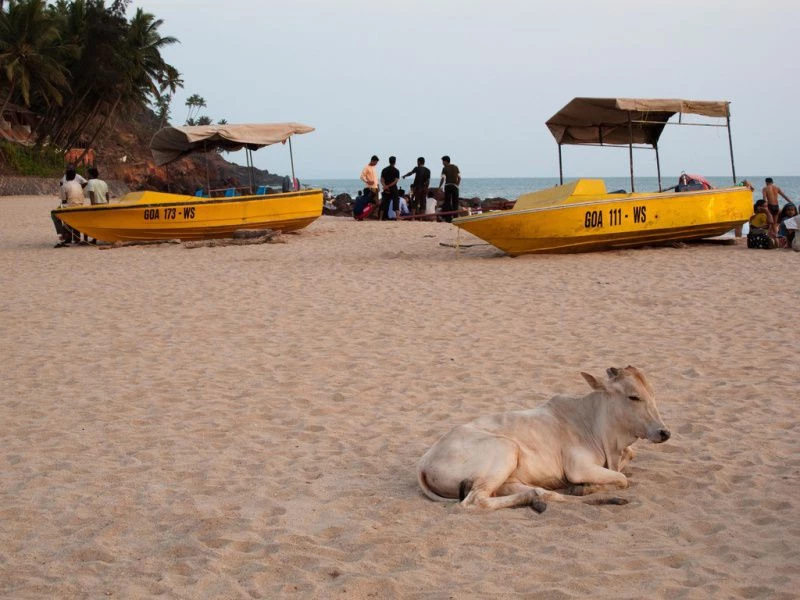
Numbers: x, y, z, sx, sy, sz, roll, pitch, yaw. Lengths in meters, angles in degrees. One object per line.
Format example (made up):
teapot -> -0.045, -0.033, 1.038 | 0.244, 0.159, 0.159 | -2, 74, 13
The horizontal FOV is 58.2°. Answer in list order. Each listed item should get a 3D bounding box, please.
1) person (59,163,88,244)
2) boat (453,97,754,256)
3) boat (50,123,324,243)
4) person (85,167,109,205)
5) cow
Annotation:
person -> -8.263, -2.360, 18.226 | 0.672, 1.867, 1.465 | -7, 15, -22
boat -> 4.338, -2.617, 15.914 | 7.010, 3.093, 2.734 | -7, 3, -18
boat -> -5.602, -3.030, 19.000 | 6.756, 2.889, 2.324 | -10, 12, -30
person -> -7.617, -2.864, 18.018 | 0.477, 0.902, 1.949 | -7, 15, -22
cow -> 0.985, 0.899, 5.167 | 1.616, 0.823, 0.899 | -6, -1, -12
